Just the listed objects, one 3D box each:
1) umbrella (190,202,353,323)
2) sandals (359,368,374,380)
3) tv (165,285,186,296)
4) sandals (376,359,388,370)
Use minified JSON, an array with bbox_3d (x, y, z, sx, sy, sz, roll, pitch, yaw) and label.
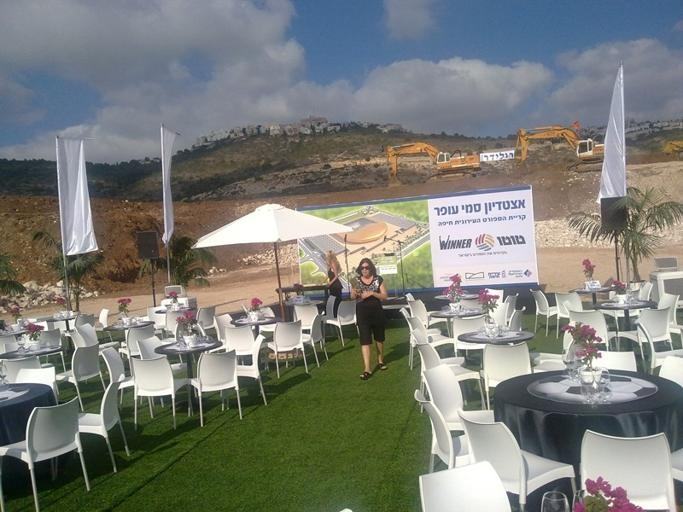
[{"bbox_3d":[-1.074,0.322,9.789,2.320,1.668,2.491,-14,13,7],"label":"umbrella"},{"bbox_3d":[0.439,2.056,9.006,0.184,0.126,0.366,-3,-3,16],"label":"sandals"},{"bbox_3d":[-4.799,1.002,15.080,0.351,0.263,0.193,8,-21,-25],"label":"tv"},{"bbox_3d":[0.744,1.989,9.500,0.171,0.115,0.467,-1,-4,-7],"label":"sandals"}]
